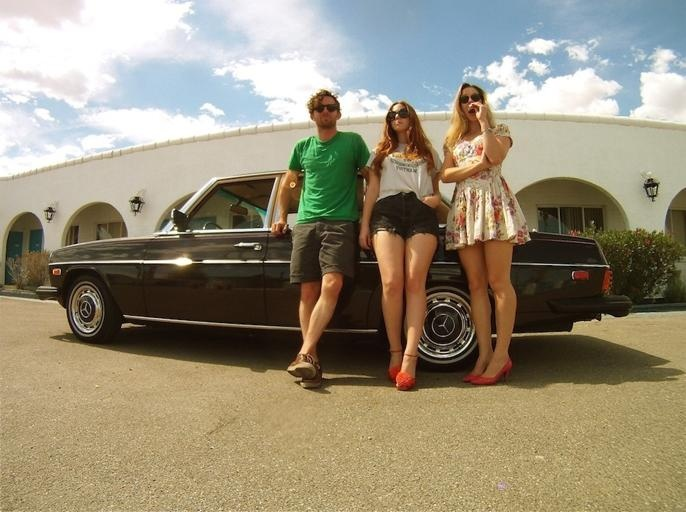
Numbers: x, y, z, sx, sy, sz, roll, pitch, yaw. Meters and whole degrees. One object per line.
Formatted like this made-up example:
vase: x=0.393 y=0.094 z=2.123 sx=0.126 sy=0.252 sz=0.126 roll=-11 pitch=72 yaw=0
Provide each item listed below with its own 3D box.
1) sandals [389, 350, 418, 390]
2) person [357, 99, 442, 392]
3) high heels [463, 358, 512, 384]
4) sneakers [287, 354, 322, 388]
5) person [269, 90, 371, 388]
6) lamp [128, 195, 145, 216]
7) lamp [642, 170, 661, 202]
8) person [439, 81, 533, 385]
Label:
sandals: x=0.465 y=0.868 z=3.116 sx=0.180 sy=0.294 sz=0.263 roll=-1 pitch=0 yaw=-2
person: x=0.478 y=-0.137 z=3.250 sx=0.685 sy=2.291 sz=0.519 roll=-1 pitch=0 yaw=3
high heels: x=1.159 y=0.931 z=3.195 sx=0.322 sy=0.177 sz=0.187 roll=-2 pitch=2 yaw=-6
sneakers: x=-0.293 y=0.860 z=3.008 sx=0.134 sy=0.190 sz=0.389 roll=0 pitch=-33 yaw=7
person: x=-0.207 y=-0.243 z=3.306 sx=0.883 sy=2.546 sz=0.727 roll=-4 pitch=-16 yaw=17
lamp: x=-6.754 y=-1.671 z=13.057 sx=0.512 sy=0.645 sz=0.558 roll=4 pitch=-4 yaw=0
lamp: x=8.619 y=-1.936 z=11.112 sx=0.421 sy=0.876 sz=0.201 roll=-1 pitch=0 yaw=10
person: x=1.130 y=-0.209 z=3.226 sx=0.670 sy=1.774 sz=0.332 roll=-1 pitch=0 yaw=27
